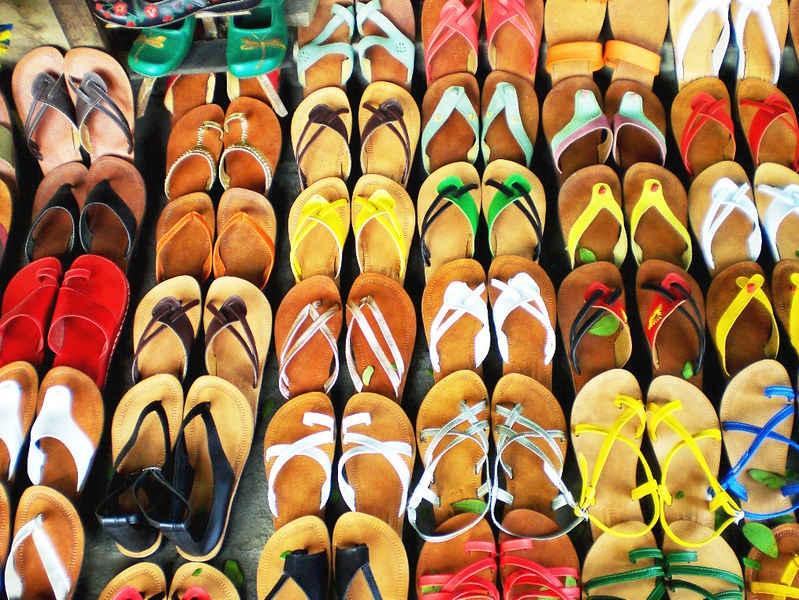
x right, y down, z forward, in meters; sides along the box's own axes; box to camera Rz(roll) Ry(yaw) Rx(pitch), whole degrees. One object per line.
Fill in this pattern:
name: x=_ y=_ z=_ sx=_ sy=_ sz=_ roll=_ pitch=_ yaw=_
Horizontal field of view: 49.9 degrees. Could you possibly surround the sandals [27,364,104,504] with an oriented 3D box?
sandals: x=-1.377 y=0.644 z=3.505 sx=0.237 sy=0.763 sz=0.134 roll=9 pitch=5 yaw=-8
